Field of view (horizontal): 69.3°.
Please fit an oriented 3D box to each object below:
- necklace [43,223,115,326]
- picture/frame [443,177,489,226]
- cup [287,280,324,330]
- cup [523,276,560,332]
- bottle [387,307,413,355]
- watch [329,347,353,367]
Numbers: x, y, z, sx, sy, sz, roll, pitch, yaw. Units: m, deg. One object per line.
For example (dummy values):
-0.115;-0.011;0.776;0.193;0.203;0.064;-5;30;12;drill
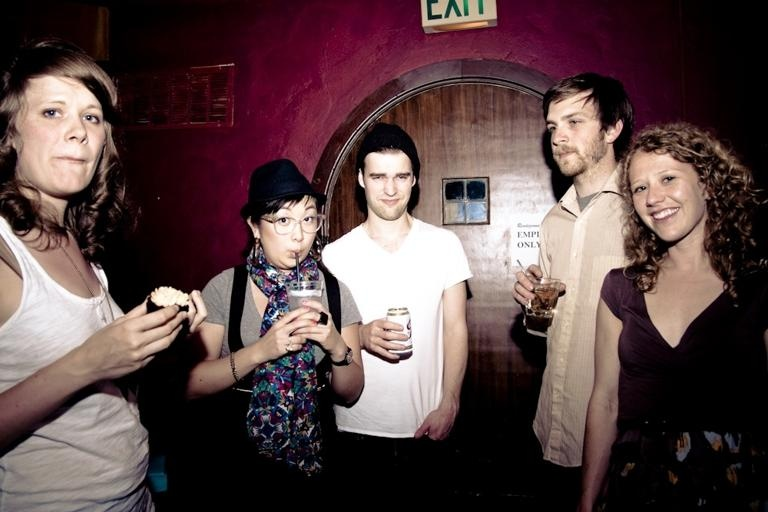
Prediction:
-1.416;0.101;2.709;0.242;0.383;0.286;-7;10;-11;necklace
0.627;-0.400;4.186;0.352;0.343;0.061;-1;3;9;picture/frame
-0.375;0.246;2.921;0.202;0.231;0.221;-1;-4;0;cup
0.988;0.320;3.447;0.214;0.407;0.416;4;8;15;cup
0.084;0.439;3.246;0.150;0.271;0.109;2;7;0;bottle
-0.237;0.560;3.095;0.103;0.055;0.105;-2;-9;34;watch
